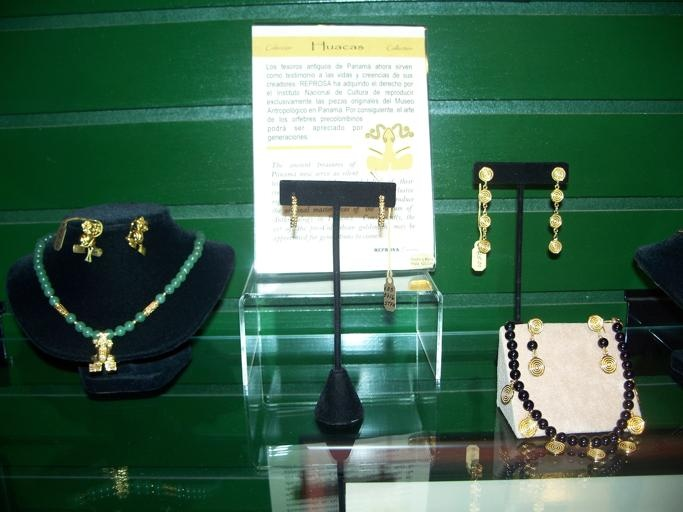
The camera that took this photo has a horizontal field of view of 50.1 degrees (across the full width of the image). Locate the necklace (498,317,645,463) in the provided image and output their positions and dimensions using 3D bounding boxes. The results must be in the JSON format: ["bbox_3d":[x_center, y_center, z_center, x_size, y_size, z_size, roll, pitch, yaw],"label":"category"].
[{"bbox_3d":[0.455,0.253,1.630,0.340,0.303,0.283,-1,10,-2],"label":"necklace"}]

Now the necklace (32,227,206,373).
[{"bbox_3d":[-0.488,0.088,1.620,0.372,0.219,0.271,-5,22,-11],"label":"necklace"}]
